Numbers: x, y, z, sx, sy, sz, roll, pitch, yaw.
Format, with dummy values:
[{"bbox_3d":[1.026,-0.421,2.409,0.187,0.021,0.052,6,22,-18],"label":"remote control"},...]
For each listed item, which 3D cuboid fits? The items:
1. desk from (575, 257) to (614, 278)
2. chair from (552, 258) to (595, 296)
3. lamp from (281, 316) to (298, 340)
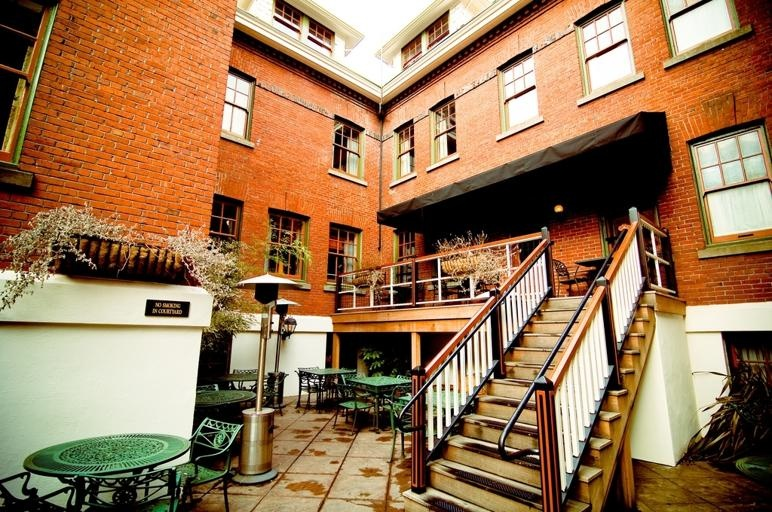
[{"bbox_3d":[4.512,0.205,10.741,0.682,0.616,0.689,-4,-7,37],"label":"desk"},{"bbox_3d":[4.021,0.511,11.344,0.705,0.904,0.686,19,-7,-17],"label":"chair"},{"bbox_3d":[-2.521,1.883,12.936,0.371,0.575,0.756,5,-12,-10],"label":"lamp"}]
